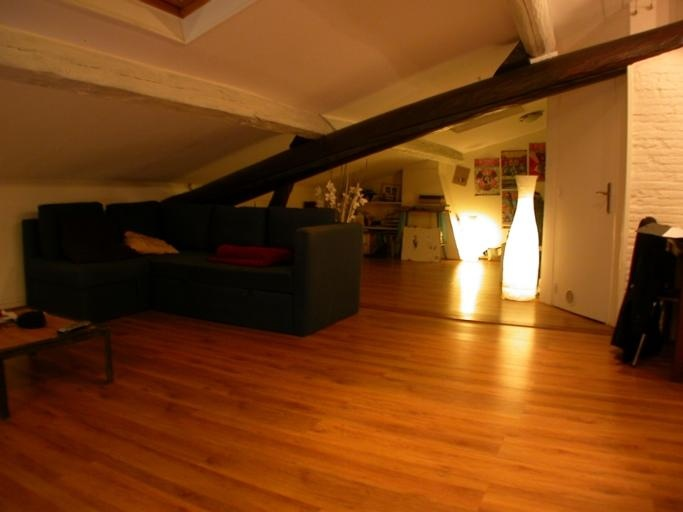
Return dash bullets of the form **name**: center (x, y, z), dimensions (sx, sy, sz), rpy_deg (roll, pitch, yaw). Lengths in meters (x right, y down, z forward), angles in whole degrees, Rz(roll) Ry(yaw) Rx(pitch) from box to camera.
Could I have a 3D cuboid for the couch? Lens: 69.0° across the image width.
- **couch**: center (-1.437, 0.033, 4.972), dimensions (3.274, 1.087, 1.388), rpy_deg (1, 7, 4)
